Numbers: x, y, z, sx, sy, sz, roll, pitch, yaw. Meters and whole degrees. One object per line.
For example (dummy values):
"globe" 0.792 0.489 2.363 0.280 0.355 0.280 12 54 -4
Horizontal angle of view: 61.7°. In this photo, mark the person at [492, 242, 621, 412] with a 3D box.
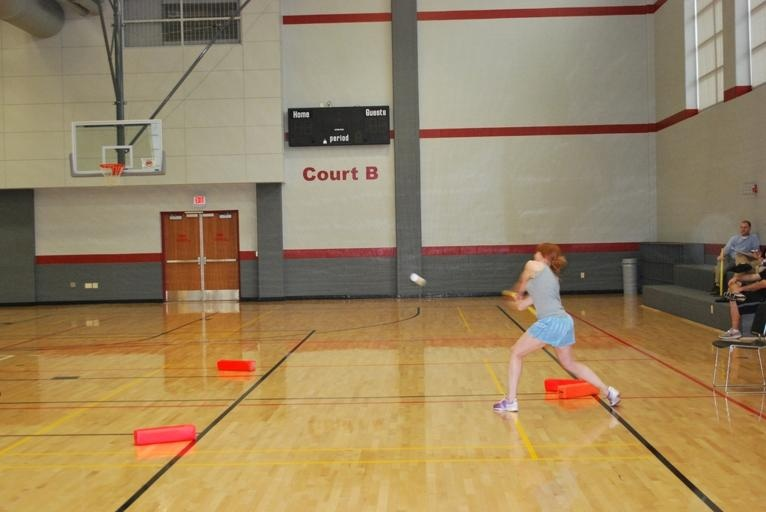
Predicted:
"person" 2.241 0.972 8.601 1.522 2.237 0.665 -1 16 6

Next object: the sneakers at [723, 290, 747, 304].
"sneakers" 6.062 0.710 10.964 0.325 0.121 0.228 5 -3 -33

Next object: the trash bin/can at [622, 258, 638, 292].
"trash bin/can" 6.608 0.591 17.393 0.510 0.937 0.452 -3 -1 -9

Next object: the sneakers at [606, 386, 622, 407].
"sneakers" 3.098 1.901 8.676 0.167 0.129 0.355 34 -7 17

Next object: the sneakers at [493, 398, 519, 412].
"sneakers" 1.640 2.024 8.710 0.399 0.151 0.142 2 -1 7
